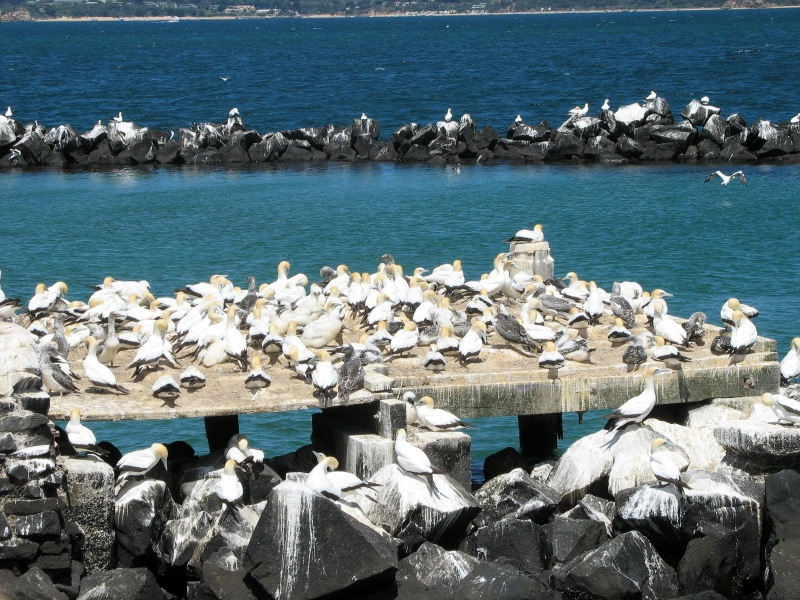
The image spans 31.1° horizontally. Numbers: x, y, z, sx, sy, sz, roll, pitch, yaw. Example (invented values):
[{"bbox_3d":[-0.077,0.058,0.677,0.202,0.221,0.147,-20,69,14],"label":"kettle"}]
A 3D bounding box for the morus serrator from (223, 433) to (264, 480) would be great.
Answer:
[{"bbox_3d":[-4.318,4.376,39.618,0.984,1.189,0.805,-6,15,-8],"label":"morus serrator"}]
